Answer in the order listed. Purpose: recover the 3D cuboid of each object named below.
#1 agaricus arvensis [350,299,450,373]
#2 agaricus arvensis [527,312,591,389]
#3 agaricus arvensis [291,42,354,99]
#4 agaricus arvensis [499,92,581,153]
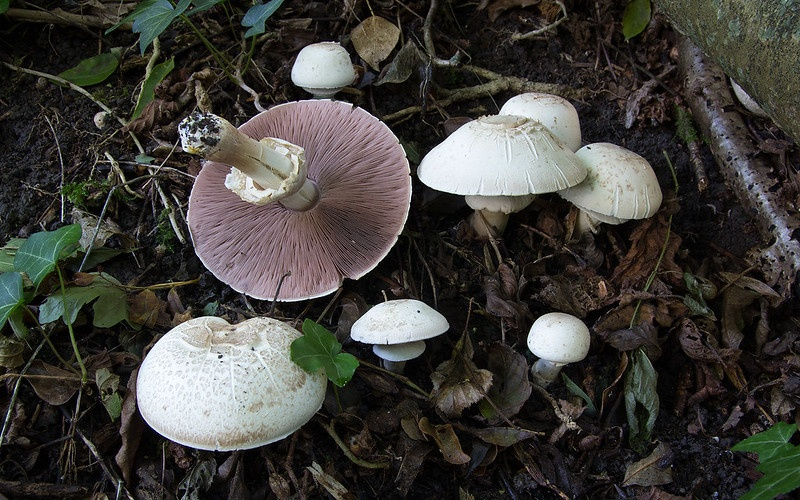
[{"bbox_3d":[0.009,0.495,3.861,0.462,0.354,0.469,-5,17,11],"label":"agaricus arvensis"},{"bbox_3d":[1.044,0.675,4.035,0.301,0.315,0.412,15,-59,-8],"label":"agaricus arvensis"},{"bbox_3d":[-0.564,-1.314,4.600,0.493,0.505,0.465,-1,-57,-11],"label":"agaricus arvensis"},{"bbox_3d":[1.030,-0.940,4.347,0.458,0.430,0.452,3,22,-34],"label":"agaricus arvensis"}]
